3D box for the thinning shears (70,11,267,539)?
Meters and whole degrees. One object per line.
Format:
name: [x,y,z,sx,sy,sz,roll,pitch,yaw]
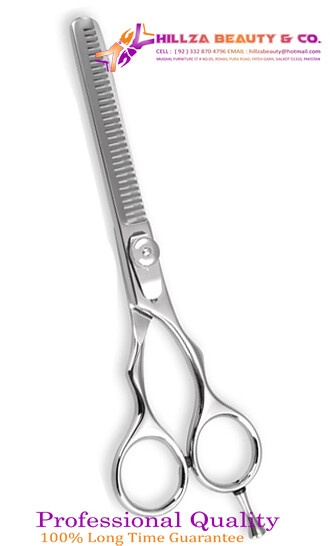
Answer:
thinning shears: [-0.016,0.048,0.604,0.165,0.664,0.053,-11,-3,-22]
